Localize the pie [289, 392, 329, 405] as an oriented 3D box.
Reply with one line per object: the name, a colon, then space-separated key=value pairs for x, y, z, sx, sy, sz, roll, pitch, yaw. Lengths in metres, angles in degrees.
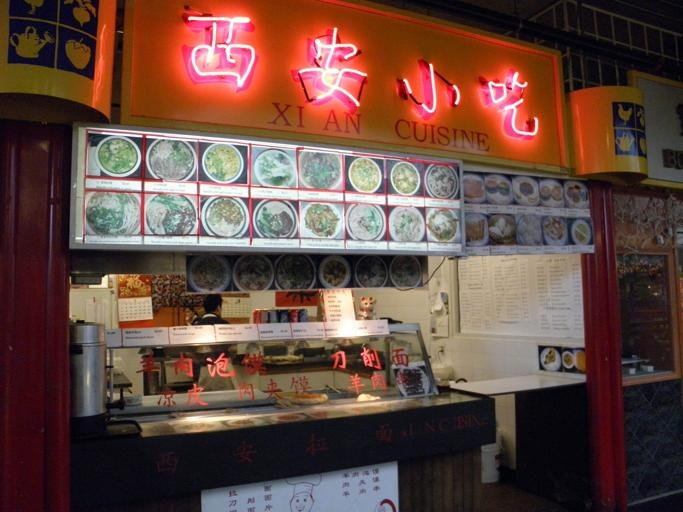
pie: x=-0.242 y=1.094 z=4.372 sx=0.283 sy=0.080 sz=0.087 roll=-2 pitch=-1 yaw=-4
